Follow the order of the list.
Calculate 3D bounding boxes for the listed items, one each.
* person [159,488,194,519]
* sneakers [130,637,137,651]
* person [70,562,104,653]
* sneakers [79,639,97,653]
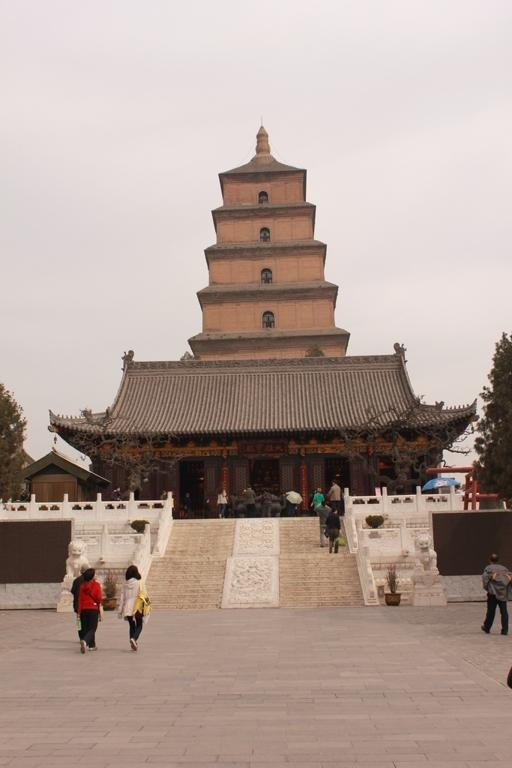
[{"bbox_3d":[-2.474,4.497,26.489,1.276,0.707,1.881,0,-8,8],"label":"person"},{"bbox_3d":[-1.474,3.335,9.199,0.071,0.197,0.087,-4,2,21],"label":"sneakers"},{"bbox_3d":[-2.092,3.041,9.570,0.340,1.124,0.762,-1,3,-13],"label":"person"},{"bbox_3d":[-2.039,3.423,9.389,0.096,0.114,0.273,2,-5,9],"label":"sneakers"}]
